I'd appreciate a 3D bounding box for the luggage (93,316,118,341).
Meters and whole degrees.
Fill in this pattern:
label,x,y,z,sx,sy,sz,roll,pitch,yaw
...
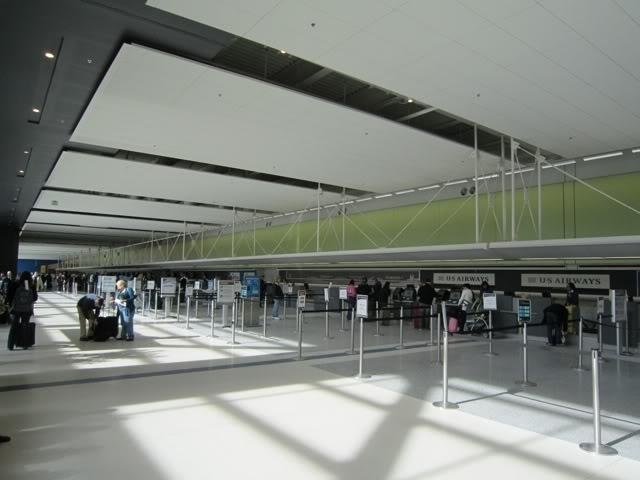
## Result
label,x,y,z,sx,sy,sz,roll,pitch,yaw
luggage,-6.853,2.820,13.809,0.927,0.876,0.673,3,-2,-36

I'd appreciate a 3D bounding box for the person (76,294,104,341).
label,x,y,z,sx,sy,sz,roll,pitch,yaw
person,-7.623,2.469,14.139,0.679,1.415,2.377,2,-3,-29

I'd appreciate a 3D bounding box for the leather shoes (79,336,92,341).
label,x,y,z,sx,sy,sz,roll,pitch,yaw
leather shoes,-7.363,3.089,13.459,0.277,0.127,0.246,0,-3,13

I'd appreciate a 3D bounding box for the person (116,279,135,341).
label,x,y,z,sx,sy,sz,roll,pitch,yaw
person,-6.293,2.243,13.791,0.598,1.925,0.962,2,-3,-26

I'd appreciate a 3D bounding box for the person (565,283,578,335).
label,x,y,z,sx,sy,sz,roll,pitch,yaw
person,8.210,2.237,13.896,0.350,1.660,1.328,-1,-3,30
